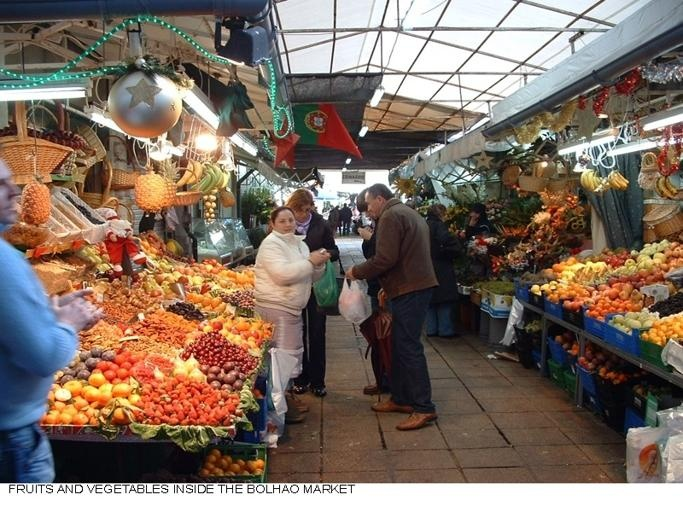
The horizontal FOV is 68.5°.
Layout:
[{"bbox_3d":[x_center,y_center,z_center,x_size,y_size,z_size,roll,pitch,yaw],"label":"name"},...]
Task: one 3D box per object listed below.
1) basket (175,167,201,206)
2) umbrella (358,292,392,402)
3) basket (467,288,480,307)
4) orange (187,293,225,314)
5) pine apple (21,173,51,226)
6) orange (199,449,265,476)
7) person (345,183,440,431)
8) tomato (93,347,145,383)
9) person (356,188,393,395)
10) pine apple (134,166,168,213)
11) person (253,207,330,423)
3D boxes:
[{"bbox_3d":[-1.909,-0.877,6.320,0.316,0.418,0.327,-4,0,11],"label":"basket"},{"bbox_3d":[0.393,1.006,5.332,0.364,0.987,0.544,1,9,-10],"label":"umbrella"},{"bbox_3d":[2.164,0.637,8.209,0.234,0.264,0.408,2,2,16],"label":"basket"},{"bbox_3d":[-1.354,0.452,5.100,0.309,0.153,0.403,-6,8,-44],"label":"orange"},{"bbox_3d":[-2.187,-0.403,3.592,0.266,0.335,0.254,-1,5,-23],"label":"pine apple"},{"bbox_3d":[-0.742,1.427,3.472,0.426,0.139,0.293,-1,5,-5],"label":"orange"},{"bbox_3d":[0.554,0.437,4.955,0.783,2.325,0.603,3,6,35],"label":"person"},{"bbox_3d":[-1.478,0.719,3.365,0.190,0.057,0.190,8,16,17],"label":"tomato"},{"bbox_3d":[0.675,0.431,5.552,0.453,2.070,1.046,0,4,-10],"label":"person"},{"bbox_3d":[-1.875,-0.680,5.092,0.336,0.436,0.322,-13,16,-41],"label":"pine apple"},{"bbox_3d":[-0.449,0.566,4.776,0.768,2.027,0.697,0,10,-27],"label":"person"}]
